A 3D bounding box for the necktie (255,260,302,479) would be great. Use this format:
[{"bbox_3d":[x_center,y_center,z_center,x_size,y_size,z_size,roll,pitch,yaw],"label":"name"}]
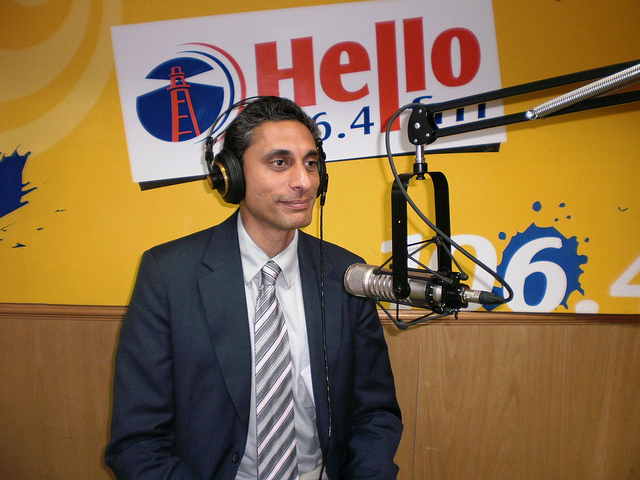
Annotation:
[{"bbox_3d":[-0.215,0.598,2.901,0.179,0.983,0.132,-2,0,-4],"label":"necktie"}]
